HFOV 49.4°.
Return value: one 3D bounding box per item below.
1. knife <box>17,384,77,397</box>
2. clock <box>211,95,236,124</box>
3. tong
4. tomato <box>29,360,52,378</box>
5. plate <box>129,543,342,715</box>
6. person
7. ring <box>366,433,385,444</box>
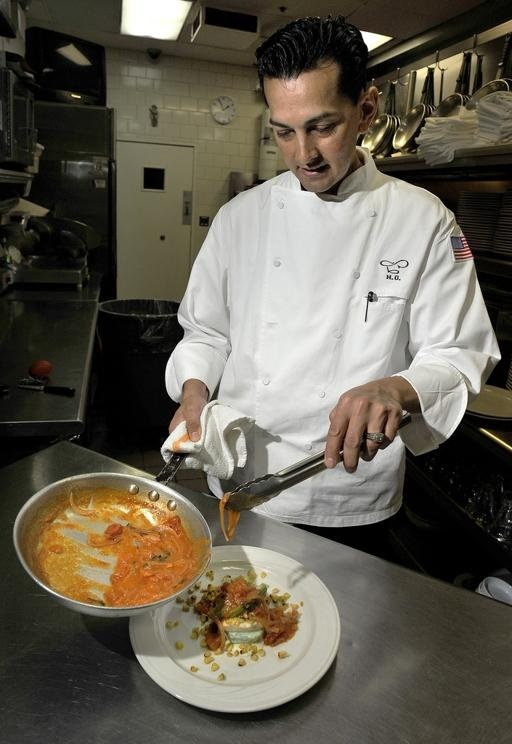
[{"bbox_3d":[-0.687,0.056,1.846,0.174,0.027,0.114,13,14,31],"label":"knife"},{"bbox_3d":[-0.404,-3.147,6.632,0.309,0.307,0.040,-8,28,-10],"label":"clock"},{"bbox_3d":[0.086,0.174,0.890,0.383,0.063,0.062,-30,51,7],"label":"tong"},{"bbox_3d":[-0.755,-0.015,1.947,0.054,0.058,0.074,-4,8,41],"label":"tomato"},{"bbox_3d":[-0.013,0.345,0.769,0.256,0.040,0.327,12,14,26],"label":"plate"},{"bbox_3d":[0.106,-0.154,1.192,0.717,1.034,0.597,8,22,26],"label":"person"},{"bbox_3d":[0.187,0.104,0.879,0.021,0.011,0.016,2,5,5],"label":"ring"}]
